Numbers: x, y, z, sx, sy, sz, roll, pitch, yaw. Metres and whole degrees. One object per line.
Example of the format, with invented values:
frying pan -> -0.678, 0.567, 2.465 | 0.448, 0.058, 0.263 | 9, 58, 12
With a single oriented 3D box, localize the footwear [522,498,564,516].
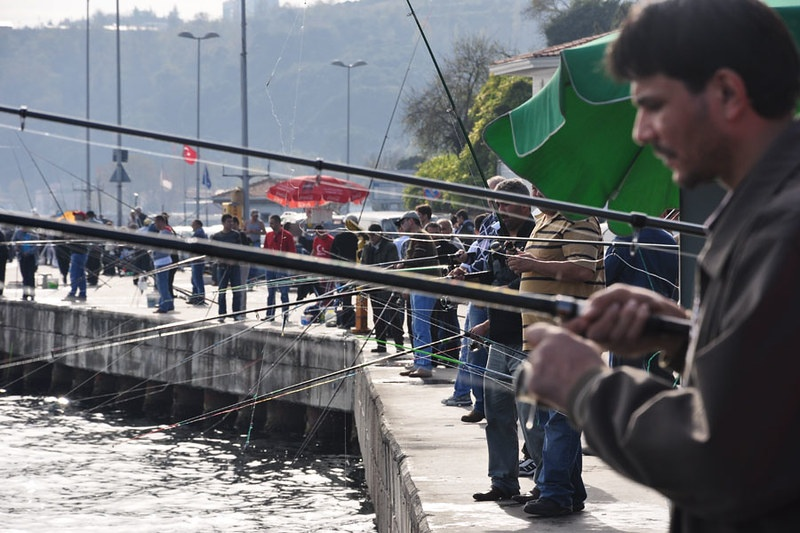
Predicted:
footwear -> 0.871, 1.457, 10.288 | 0.271, 0.115, 0.090 | 5, -2, 5

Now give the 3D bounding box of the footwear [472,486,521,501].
footwear -> 0.594, 1.419, 10.566 | 0.293, 0.103, 0.103 | 5, -5, -16

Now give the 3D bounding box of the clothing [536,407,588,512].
clothing -> 0.974, 1.119, 10.339 | 0.221, 0.600, 0.298 | 1, 17, 20
